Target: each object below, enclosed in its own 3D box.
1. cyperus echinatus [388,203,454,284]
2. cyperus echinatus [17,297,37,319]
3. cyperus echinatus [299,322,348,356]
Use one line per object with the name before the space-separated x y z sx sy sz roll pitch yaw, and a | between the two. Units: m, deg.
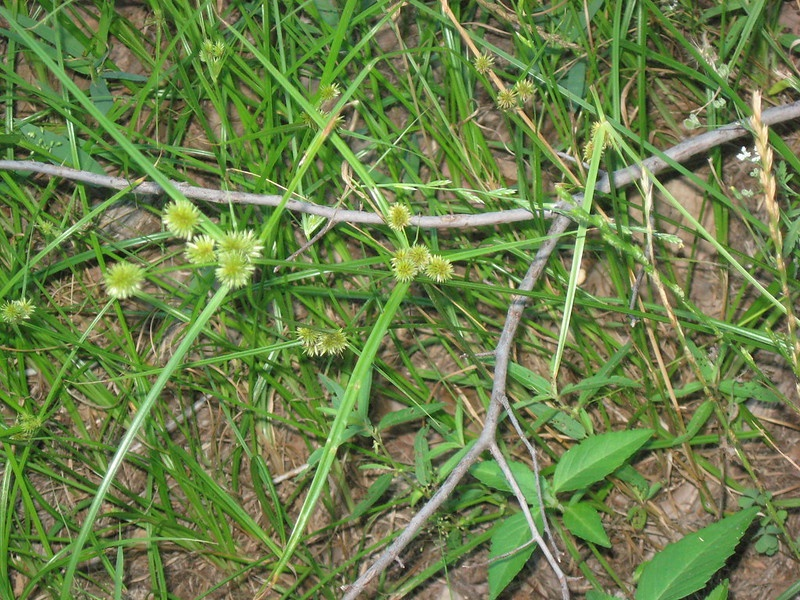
cyperus echinatus | 0.056 -0.142 2.368 0.181 0.114 0.231 11 85 3
cyperus echinatus | -1.262 0.024 2.761 0.035 0.069 0.085 -17 66 44
cyperus echinatus | -0.245 0.146 2.630 0.107 0.116 0.076 12 103 35
